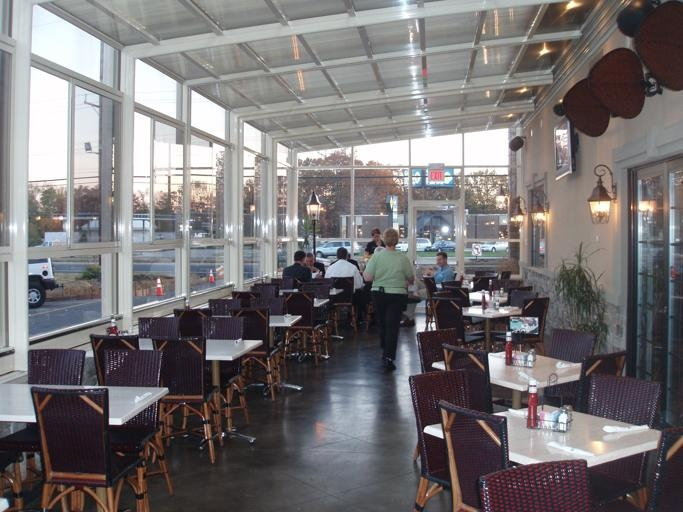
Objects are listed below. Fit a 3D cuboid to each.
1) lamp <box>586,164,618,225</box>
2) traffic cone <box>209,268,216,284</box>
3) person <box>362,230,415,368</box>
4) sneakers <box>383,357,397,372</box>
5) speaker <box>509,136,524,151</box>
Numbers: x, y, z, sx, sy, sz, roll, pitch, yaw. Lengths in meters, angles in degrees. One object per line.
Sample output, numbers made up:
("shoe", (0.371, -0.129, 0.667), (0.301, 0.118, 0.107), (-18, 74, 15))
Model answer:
("lamp", (3.441, -0.813, 7.561), (0.330, 0.795, 0.898), (1, 4, 25))
("traffic cone", (-2.273, 0.364, 10.083), (0.166, 0.279, 0.174), (-2, 3, -5))
("person", (0.746, 0.573, 8.725), (0.645, 2.059, 0.625), (2, 14, 11))
("sneakers", (0.725, 1.635, 8.720), (0.119, 0.167, 0.380), (-1, -13, 3))
("speaker", (4.232, -2.697, 13.765), (0.414, 0.340, 0.349), (-4, 5, -36))
